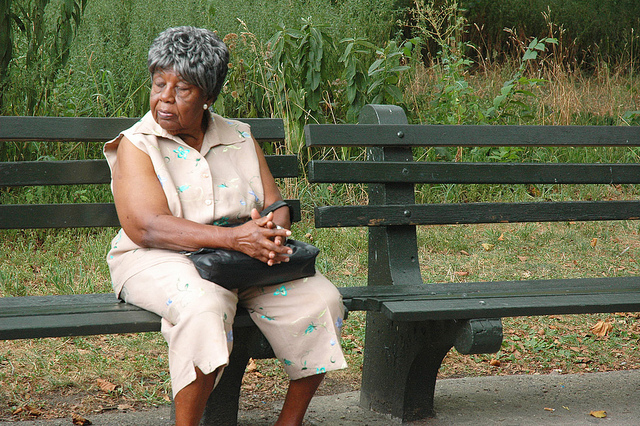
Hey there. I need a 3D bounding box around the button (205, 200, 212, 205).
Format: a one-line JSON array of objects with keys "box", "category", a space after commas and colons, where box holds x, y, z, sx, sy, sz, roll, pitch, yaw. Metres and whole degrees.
[{"box": [-0.661, -0.066, 4.153, 0.032, 0.029, 0.007, 1, -8, -8], "category": "button"}]

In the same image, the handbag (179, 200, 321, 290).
[{"box": [-0.398, 0.161, 4.002, 0.506, 0.176, 0.482, -10, 22, -18], "category": "handbag"}]

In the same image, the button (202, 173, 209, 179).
[{"box": [-0.676, -0.220, 4.164, 0.029, 0.027, 0.007, 4, -14, -10], "category": "button"}]

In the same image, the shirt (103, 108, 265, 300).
[{"box": [-0.771, -0.036, 4.096, 1.198, 1.223, 0.769, -1, 2, -23], "category": "shirt"}]

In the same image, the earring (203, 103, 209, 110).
[{"box": [-0.693, -0.643, 4.246, 0.032, 0.017, 0.032, -24, -13, 21], "category": "earring"}]

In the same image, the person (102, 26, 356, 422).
[{"box": [-0.566, 0.143, 4.109, 1.125, 2.400, 1.101, -7, 17, -31], "category": "person"}]
